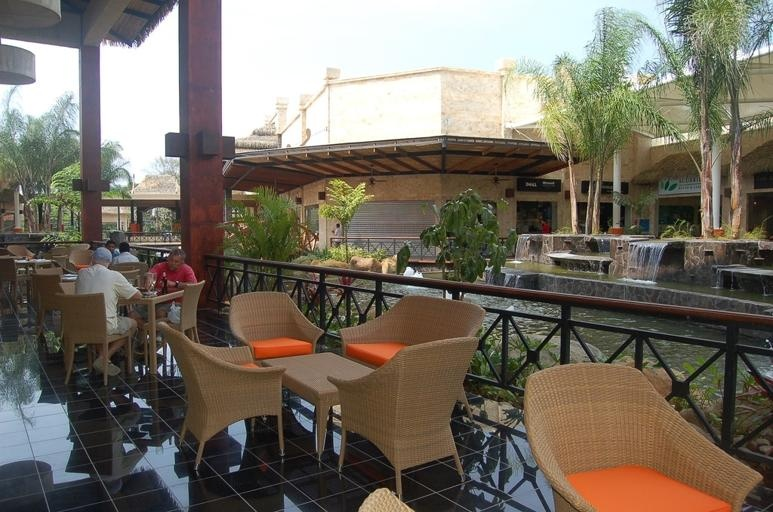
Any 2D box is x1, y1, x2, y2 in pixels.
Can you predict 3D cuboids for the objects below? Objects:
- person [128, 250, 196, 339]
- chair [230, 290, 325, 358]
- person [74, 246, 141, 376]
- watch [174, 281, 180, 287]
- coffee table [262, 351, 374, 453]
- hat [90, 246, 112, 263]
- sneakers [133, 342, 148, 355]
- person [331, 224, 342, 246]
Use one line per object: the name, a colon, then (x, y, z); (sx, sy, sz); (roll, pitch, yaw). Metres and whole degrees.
person: (-3.071, 0.443, 7.146); (0.808, 1.039, 0.621); (5, 14, -24)
chair: (-1.261, 0.744, 5.602); (0.834, 0.665, 0.764); (-1, 0, -27)
person: (-3.275, 0.453, 6.050); (0.624, 1.032, 0.691); (4, 6, 37)
watch: (-2.843, 0.384, 7.005); (0.081, 0.071, 0.077); (0, 10, -13)
coffee table: (-0.566, 1.524, 4.817); (0.791, 0.504, 1.137); (-1, 5, -32)
hat: (-3.977, -0.019, 7.163); (0.245, 0.285, 0.284); (8, 26, -28)
sneakers: (-3.252, 1.227, 6.792); (0.205, 0.150, 0.207); (3, 1, 42)
person: (-2.171, -0.922, 22.733); (0.476, 0.952, 1.074); (0, 4, -6)
